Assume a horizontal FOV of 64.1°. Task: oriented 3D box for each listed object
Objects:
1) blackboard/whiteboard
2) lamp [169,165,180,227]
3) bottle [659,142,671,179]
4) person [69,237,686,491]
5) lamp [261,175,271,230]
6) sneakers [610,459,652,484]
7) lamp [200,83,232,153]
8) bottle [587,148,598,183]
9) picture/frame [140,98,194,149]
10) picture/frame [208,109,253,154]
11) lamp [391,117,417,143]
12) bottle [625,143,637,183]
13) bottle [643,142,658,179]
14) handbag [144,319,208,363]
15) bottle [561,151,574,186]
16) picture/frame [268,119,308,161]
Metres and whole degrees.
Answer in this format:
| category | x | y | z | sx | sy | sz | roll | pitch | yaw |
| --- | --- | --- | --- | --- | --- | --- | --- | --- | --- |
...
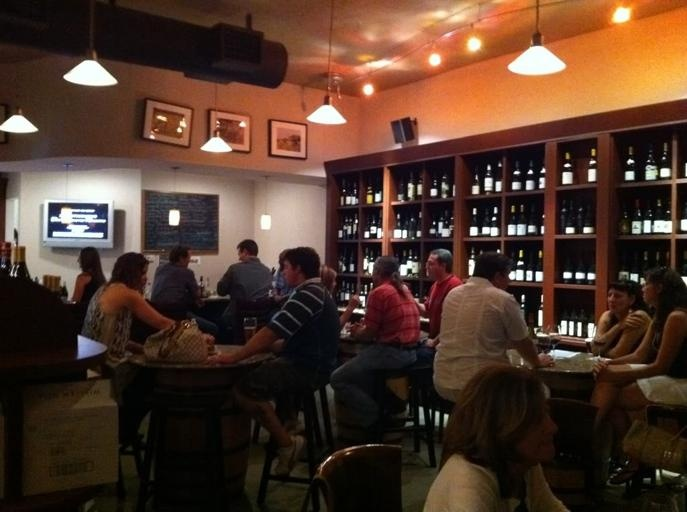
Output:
| category | x | y | z | sx | sy | sz | roll | pitch | yaw |
| --- | --- | --- | --- | --- | --- | --- | --- | --- | --- |
| blackboard/whiteboard | -2.557 | -0.534 | 8.420 | 1.043 | 0.840 | 0.069 | -2 | 3 | -39 |
| lamp | -2.537 | -0.894 | 8.263 | 0.161 | 0.873 | 0.601 | 1 | 0 | -17 |
| bottle | 2.897 | -0.872 | 4.946 | 0.099 | 0.356 | 0.230 | 1 | 0 | 29 |
| person | 0.246 | 0.722 | 3.886 | 4.067 | 1.371 | 0.897 | 1 | 0 | -5 |
| lamp | -1.246 | -0.854 | 8.878 | 0.188 | 0.801 | 0.731 | 1 | 0 | -8 |
| sneakers | 1.943 | 1.451 | 3.727 | 0.282 | 0.100 | 0.163 | -8 | -4 | -44 |
| lamp | -1.470 | -1.644 | 6.415 | 0.373 | 0.786 | 0.814 | 1 | 0 | -15 |
| bottle | 2.387 | -0.886 | 5.266 | 0.067 | 0.370 | 0.287 | 1 | 0 | 21 |
| picture/frame | -2.091 | -1.563 | 6.403 | 0.646 | 0.558 | 0.065 | -1 | 4 | -42 |
| picture/frame | -1.405 | -1.541 | 6.679 | 0.662 | 0.564 | 0.066 | 5 | -4 | -39 |
| lamp | 0.765 | -1.605 | 7.070 | 0.334 | 0.326 | 0.322 | 3 | 10 | 32 |
| bottle | 2.668 | -0.862 | 5.093 | 0.101 | 0.357 | 0.223 | 1 | 0 | 27 |
| bottle | 2.804 | -0.850 | 4.997 | 0.124 | 0.346 | 0.302 | 1 | 0 | 28 |
| handbag | -1.064 | 0.520 | 3.475 | 0.392 | 0.233 | 0.257 | 2 | 5 | 4 |
| bottle | 2.212 | -0.875 | 5.408 | 0.114 | 0.350 | 0.224 | 1 | 0 | 21 |
| picture/frame | -0.757 | -1.547 | 7.211 | 0.573 | 0.470 | 0.044 | 3 | -6 | -39 |
